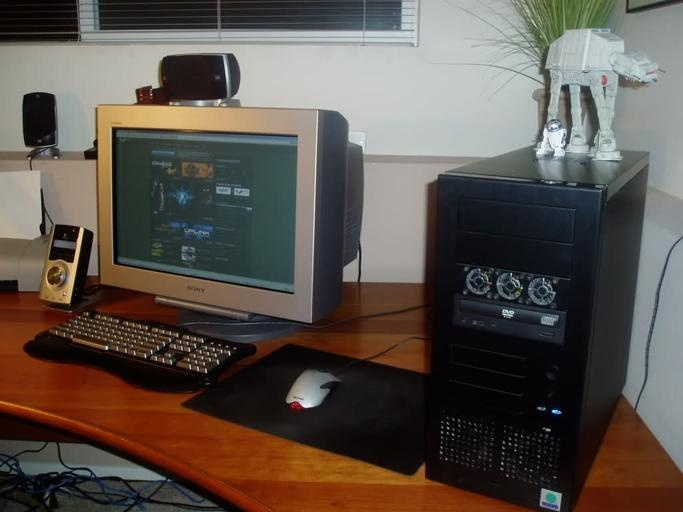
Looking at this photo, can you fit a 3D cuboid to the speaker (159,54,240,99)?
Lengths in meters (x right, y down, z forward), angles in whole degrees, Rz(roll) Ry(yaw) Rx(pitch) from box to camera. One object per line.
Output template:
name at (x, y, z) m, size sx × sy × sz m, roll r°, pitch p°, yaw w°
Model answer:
speaker at (-0.381, -0.459, 1.534) m, size 0.214 × 0.144 × 0.127 m, roll 6°, pitch 28°, yaw 10°

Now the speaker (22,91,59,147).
speaker at (-1.043, -0.465, 1.969) m, size 0.108 × 0.186 × 0.112 m, roll -8°, pitch 16°, yaw -27°
